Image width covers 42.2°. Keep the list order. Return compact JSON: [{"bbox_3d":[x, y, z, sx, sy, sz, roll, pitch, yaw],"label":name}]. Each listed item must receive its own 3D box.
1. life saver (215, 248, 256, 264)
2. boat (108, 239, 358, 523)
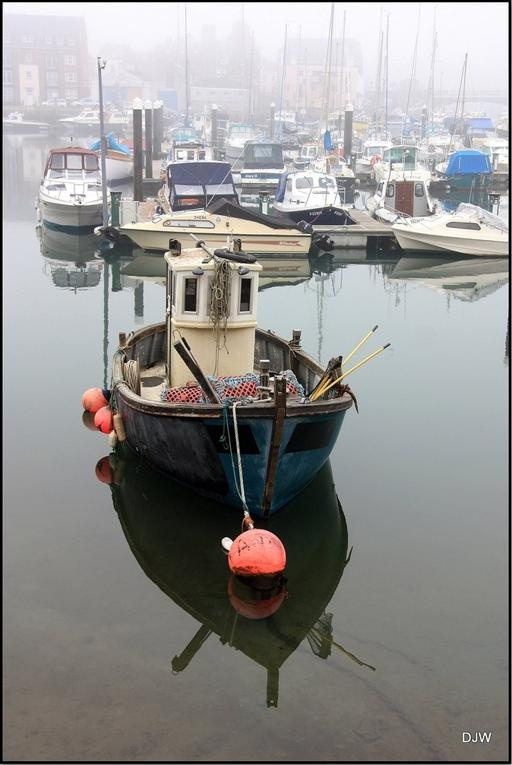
[{"bbox_3d":[-0.229,-1.382,7.336,0.362,0.102,0.220,18,28,-10],"label":"life saver"},{"bbox_3d":[-0.486,-0.290,7.768,2.169,2.025,4.061,-4,19,-16],"label":"boat"}]
